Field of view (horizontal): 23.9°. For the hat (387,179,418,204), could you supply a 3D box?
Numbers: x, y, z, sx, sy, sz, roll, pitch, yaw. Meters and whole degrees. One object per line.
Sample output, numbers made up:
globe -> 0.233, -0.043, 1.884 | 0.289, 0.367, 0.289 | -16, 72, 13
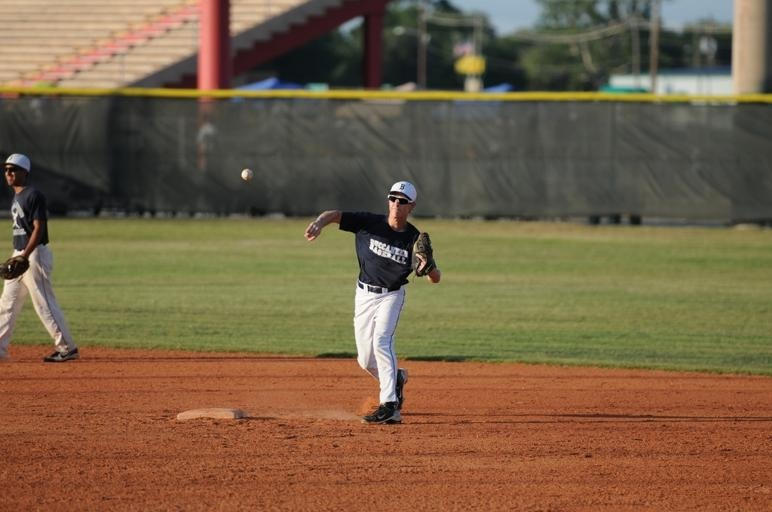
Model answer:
hat -> 0.332, -1.122, 32.814 | 0.424, 0.370, 0.697 | 0, 5, 8
